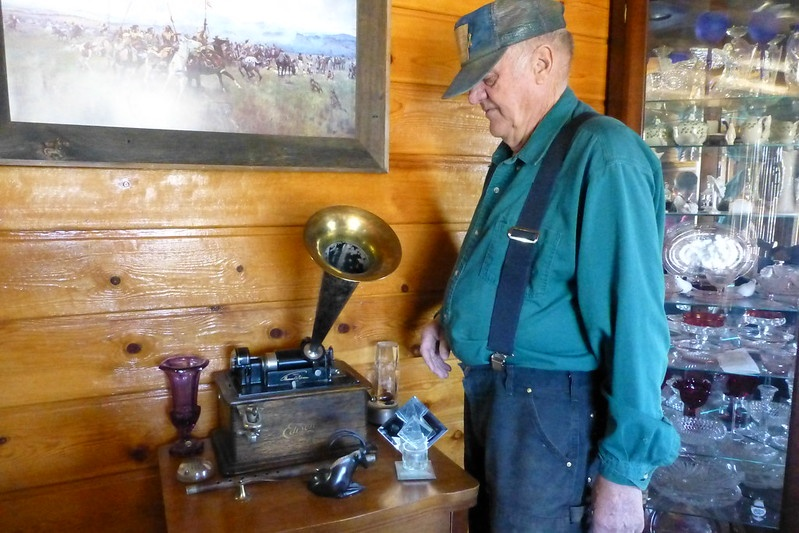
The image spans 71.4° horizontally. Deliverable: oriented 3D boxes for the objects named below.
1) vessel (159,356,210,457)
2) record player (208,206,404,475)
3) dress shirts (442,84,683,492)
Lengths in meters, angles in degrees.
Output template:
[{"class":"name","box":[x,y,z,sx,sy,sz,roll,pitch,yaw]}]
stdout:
[{"class":"vessel","box":[-0.801,0.503,2.082,0.157,0.356,0.219,-4,7,-22]},{"class":"record player","box":[-0.366,0.273,2.104,0.795,0.810,0.479,-7,9,-14]},{"class":"dress shirts","box":[0.537,0.029,1.853,0.745,1.264,0.385,2,8,24]}]
